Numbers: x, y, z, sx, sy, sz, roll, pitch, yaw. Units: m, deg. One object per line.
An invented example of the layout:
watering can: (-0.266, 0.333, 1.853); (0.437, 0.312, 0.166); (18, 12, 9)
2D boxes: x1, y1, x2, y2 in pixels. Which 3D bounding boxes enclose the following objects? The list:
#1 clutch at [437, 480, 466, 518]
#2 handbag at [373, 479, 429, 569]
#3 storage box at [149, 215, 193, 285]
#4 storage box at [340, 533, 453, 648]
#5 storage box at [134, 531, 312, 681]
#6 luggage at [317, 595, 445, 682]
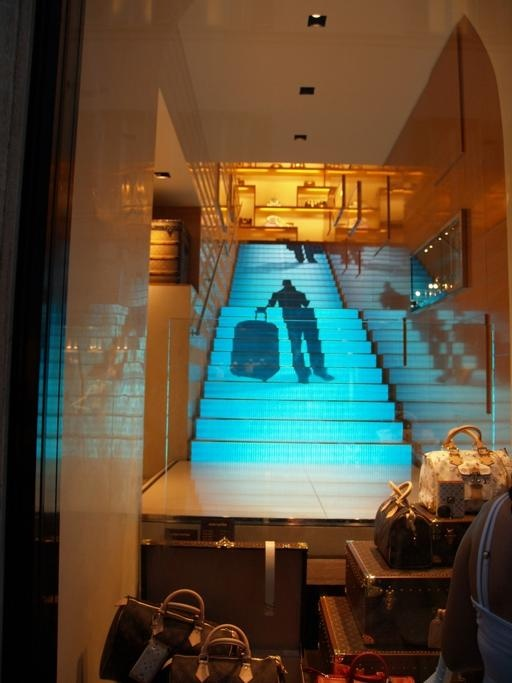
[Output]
clutch: (0.562, 0.448, 1.680); (0.089, 0.132, 0.092); (-1, 1, 4)
handbag: (0.422, 0.536, 1.658); (0.086, 0.184, 0.231); (1, -6, 4)
storage box: (-0.733, -0.647, 4.654); (0.259, 0.492, 0.483); (0, -9, -6)
storage box: (0.405, 0.716, 1.592); (0.175, 0.251, 0.112); (11, -13, 23)
storage box: (-0.091, 0.697, 1.500); (0.334, 0.369, 0.139); (1, -1, 4)
luggage: (0.336, 0.774, 1.487); (0.364, 0.194, 0.286); (2, -3, -2)
